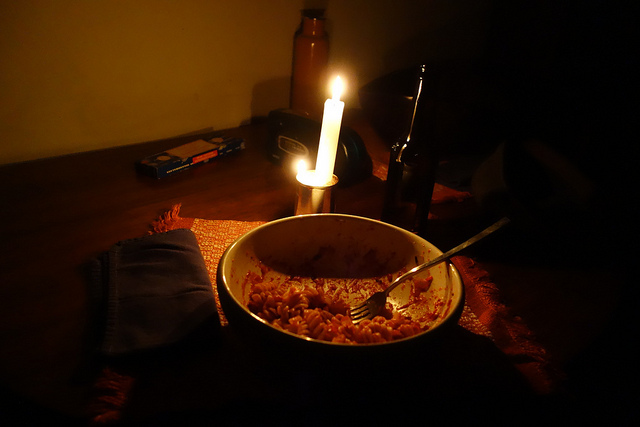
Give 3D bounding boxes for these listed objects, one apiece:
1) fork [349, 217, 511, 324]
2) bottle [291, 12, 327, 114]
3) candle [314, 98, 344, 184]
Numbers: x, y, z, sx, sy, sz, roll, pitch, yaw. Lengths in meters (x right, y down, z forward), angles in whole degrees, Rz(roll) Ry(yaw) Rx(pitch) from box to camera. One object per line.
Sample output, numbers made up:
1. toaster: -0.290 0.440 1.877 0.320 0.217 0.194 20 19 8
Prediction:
1. fork: 0.209 0.117 0.994 0.294 0.032 0.044 -35 57 17
2. bottle: -0.034 -0.443 1.542 0.122 0.268 0.101 -17 40 -18
3. candle: 0.017 -0.161 1.094 0.054 0.153 0.122 5 39 9
